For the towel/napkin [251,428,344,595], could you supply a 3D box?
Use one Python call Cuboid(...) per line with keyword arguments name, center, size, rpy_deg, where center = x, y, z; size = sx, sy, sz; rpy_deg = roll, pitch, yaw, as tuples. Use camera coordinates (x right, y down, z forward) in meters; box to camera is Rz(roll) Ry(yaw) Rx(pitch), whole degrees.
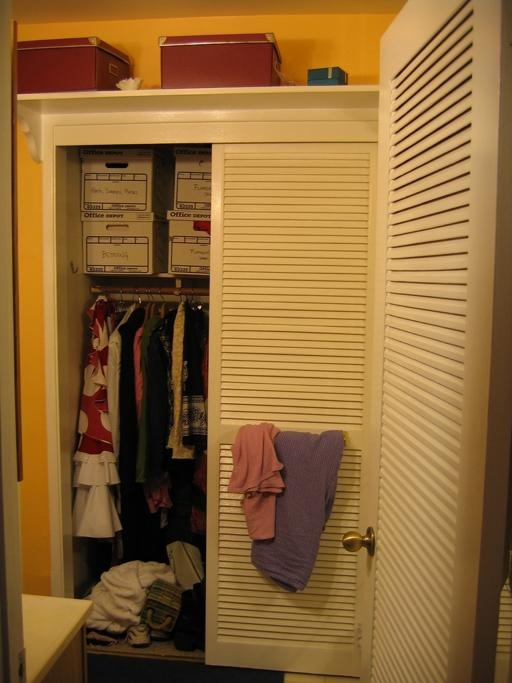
Cuboid(name="towel/napkin", center=(0.139, 0.553, 1.945), size=(0.256, 0.559, 0.113), rpy_deg=(9, -1, 26))
